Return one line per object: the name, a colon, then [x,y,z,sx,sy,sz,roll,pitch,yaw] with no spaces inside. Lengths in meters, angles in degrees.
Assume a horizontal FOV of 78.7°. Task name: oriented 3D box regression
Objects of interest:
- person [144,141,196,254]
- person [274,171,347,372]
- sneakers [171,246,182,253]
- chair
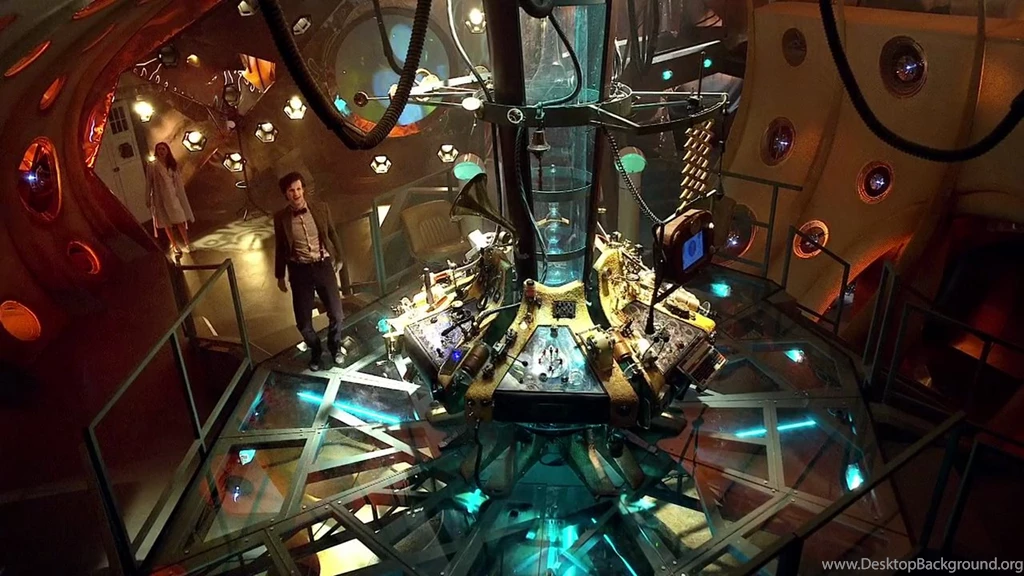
person: [-6.862,-1.755,12.541,0.379,2.277,0.726,5,25,23]
person: [-3.736,-0.285,11.728,1.189,3.766,0.494,-12,24,-15]
sneakers: [-6.786,-0.816,12.731,0.050,0.123,0.132,-3,-19,35]
chair: [-1.800,-1.350,14.910,1.320,1.376,0.953,-15,24,-24]
